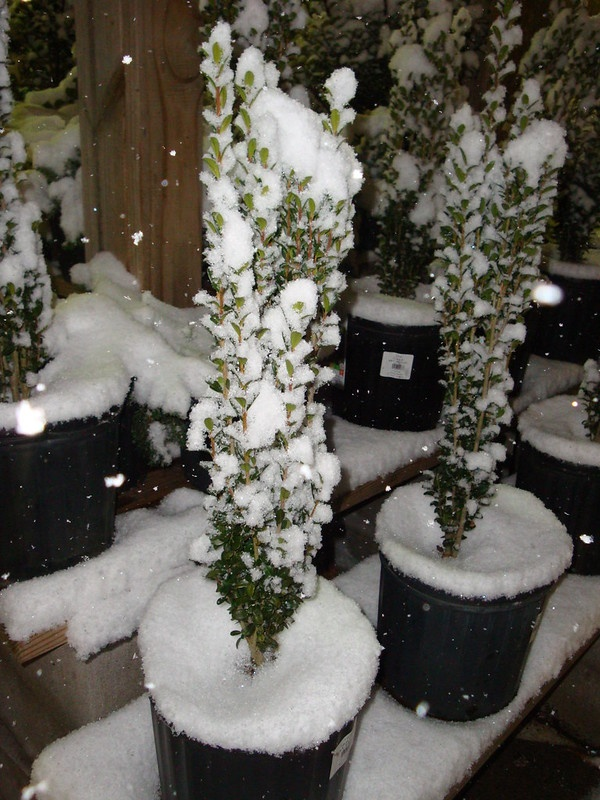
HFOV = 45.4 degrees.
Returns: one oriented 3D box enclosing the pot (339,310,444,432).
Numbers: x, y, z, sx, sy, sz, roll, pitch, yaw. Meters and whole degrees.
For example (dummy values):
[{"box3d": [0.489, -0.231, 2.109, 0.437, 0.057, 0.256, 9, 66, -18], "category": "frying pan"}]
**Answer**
[{"box3d": [0.333, -0.158, 2.954, 0.472, 0.457, 0.442, 2, 25, -1], "category": "pot"}]
